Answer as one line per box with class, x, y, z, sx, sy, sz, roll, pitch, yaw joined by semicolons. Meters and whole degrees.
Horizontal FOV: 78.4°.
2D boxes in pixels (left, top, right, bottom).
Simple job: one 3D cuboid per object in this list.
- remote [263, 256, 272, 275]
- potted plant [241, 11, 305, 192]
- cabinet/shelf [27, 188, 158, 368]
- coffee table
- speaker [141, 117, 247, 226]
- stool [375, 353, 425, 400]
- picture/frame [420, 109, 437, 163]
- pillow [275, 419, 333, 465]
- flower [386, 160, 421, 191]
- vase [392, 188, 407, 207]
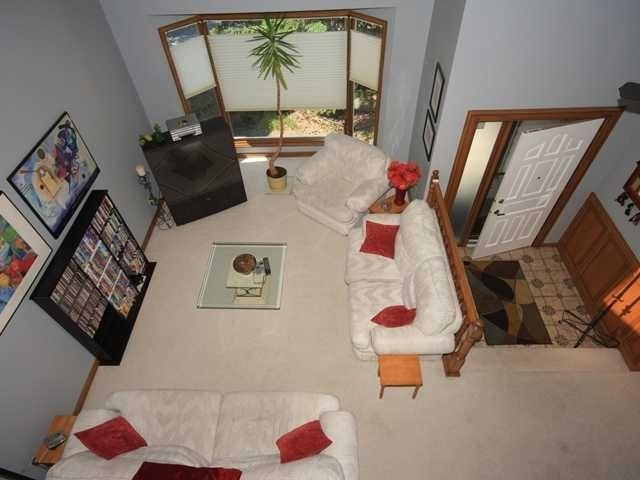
remote;-0.807;0.390;5.759;0.068;0.195;0.281;6;74;-42
potted plant;-0.726;-2.388;6.915;0.839;2.718;1.290;-3;43;0
cabinet/shelf;-3.002;0.566;5.144;0.480;1.880;2.170;-6;66;12
coffee table;-1.178;0.448;6.028;1.213;0.619;1.218;1;44;4
speaker;-2.072;-1.185;6.899;1.373;0.753;1.326;-17;69;-7
stool;0.957;1.665;4.753;0.550;0.413;0.504;1;58;5
picture/frame;1.687;-1.729;6.122;0.039;0.664;0.933;2;55;27
pillow;-0.179;2.159;4.180;0.570;0.188;0.370;-20;46;-17
flower;1.329;-1.023;6.330;0.437;0.345;0.482;0;67;8
vase;1.298;-0.737;6.401;0.225;0.266;0.234;-14;52;-10
